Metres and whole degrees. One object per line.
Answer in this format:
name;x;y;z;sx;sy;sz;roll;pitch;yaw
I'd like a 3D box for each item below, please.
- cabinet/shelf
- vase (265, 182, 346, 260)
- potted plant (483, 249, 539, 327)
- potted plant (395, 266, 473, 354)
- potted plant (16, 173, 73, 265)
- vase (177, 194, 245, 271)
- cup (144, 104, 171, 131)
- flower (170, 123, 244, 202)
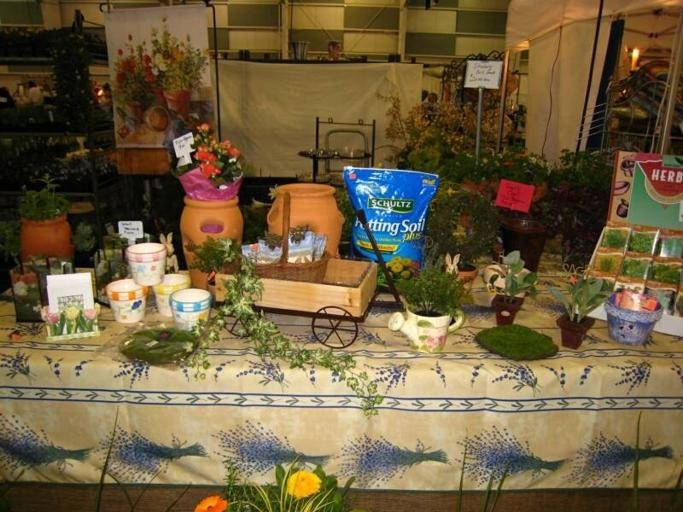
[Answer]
cabinet/shelf;0.000;-1.504;8.116;0.984;0.823;2.351;1;17;2
vase;-0.219;-0.218;3.252;0.448;0.452;0.377;1;18;-6
potted plant;0.893;0.133;3.061;0.277;0.396;0.432;7;27;19
potted plant;0.376;0.232;2.900;0.439;0.398;0.342;-9;25;-5
potted plant;-1.821;-0.196;3.502;0.292;0.408;0.381;-8;19;-24
vase;-0.734;-0.156;3.160;0.387;0.464;0.392;14;15;43
cup;-1.434;-1.062;4.439;0.176;0.162;0.174;14;18;-5
flower;-0.747;-0.537;3.228;0.373;0.402;0.399;-4;18;-13
